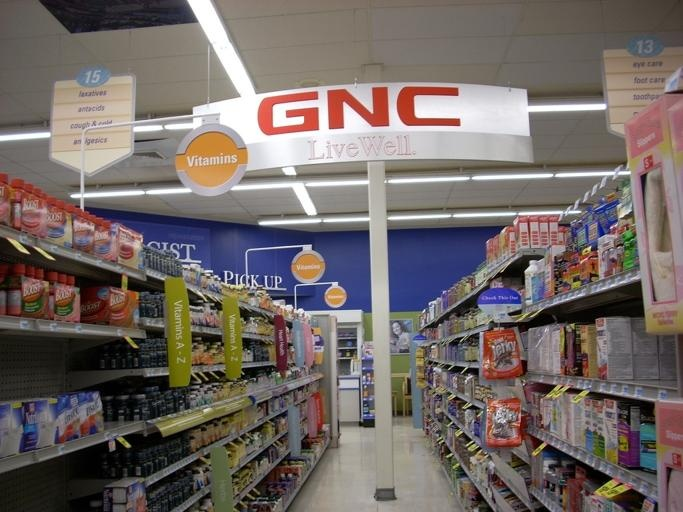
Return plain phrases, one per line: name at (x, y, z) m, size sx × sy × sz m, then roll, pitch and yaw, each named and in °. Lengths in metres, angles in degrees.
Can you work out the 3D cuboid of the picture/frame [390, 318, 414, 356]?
picture/frame at (1.840, 2.400, 16.655) m, size 0.679 × 1.036 × 0.339 m, roll -2°, pitch -11°, yaw 9°
